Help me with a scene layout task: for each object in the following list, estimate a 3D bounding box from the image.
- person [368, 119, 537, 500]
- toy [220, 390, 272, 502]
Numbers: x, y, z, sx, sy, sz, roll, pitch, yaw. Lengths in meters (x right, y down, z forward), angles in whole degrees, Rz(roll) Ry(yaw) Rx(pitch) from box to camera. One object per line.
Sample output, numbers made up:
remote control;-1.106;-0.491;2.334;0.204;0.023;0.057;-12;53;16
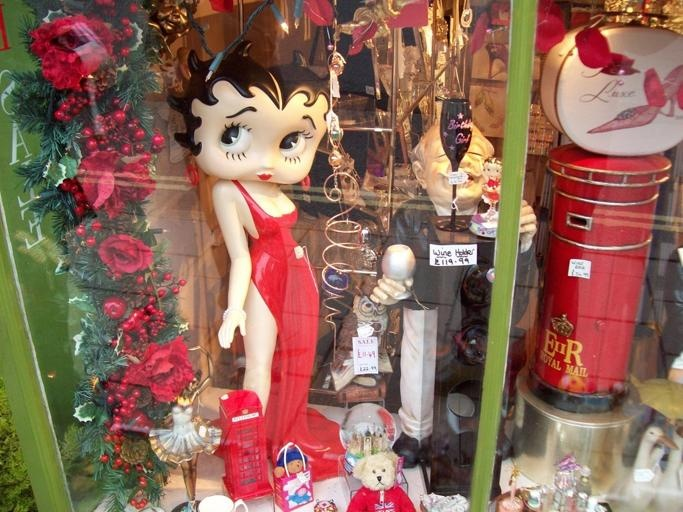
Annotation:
person;0.385;0.177;1.804;0.246;1.282;0.594;-3;5;-40
toy;-0.366;0.713;2.010;0.185;0.406;0.166;-1;4;-14
